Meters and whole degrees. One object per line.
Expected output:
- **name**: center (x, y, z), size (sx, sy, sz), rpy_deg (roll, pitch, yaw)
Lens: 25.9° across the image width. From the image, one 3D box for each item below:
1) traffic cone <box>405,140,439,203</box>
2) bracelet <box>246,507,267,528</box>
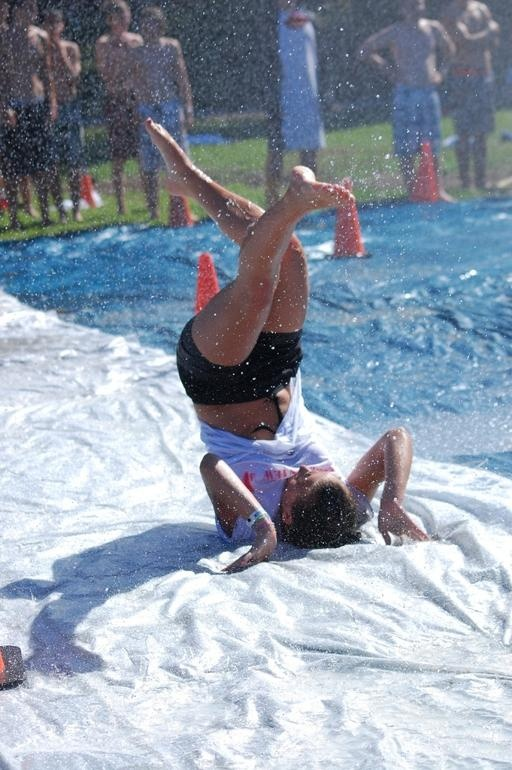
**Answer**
- **traffic cone**: center (1.429, -1.814, 9.452), size (0.276, 0.514, 0.276), rpy_deg (15, 49, 19)
- **bracelet**: center (0.007, 0.377, 3.193), size (0.054, 0.038, 0.054), rpy_deg (-32, 4, 32)
